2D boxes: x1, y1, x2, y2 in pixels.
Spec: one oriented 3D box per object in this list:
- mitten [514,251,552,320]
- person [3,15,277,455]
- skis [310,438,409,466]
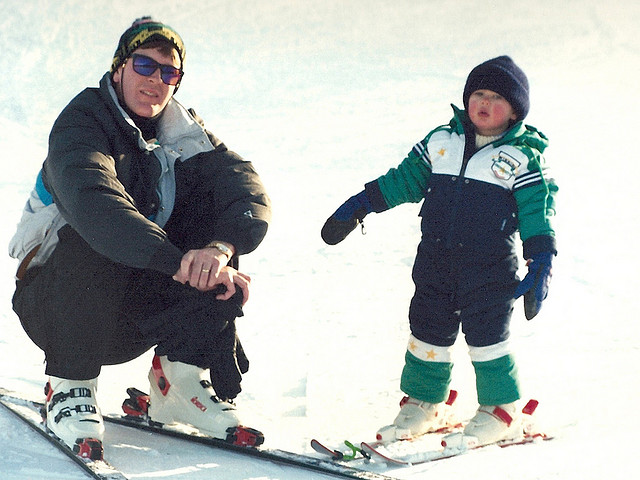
[{"bbox_3d":[0.851,0.183,3.044,0.167,0.251,0.070,32,-18,-30],"label":"mitten"},{"bbox_3d":[-0.685,-0.066,2.888,0.995,1.660,0.464,1,-3,-4],"label":"person"},{"bbox_3d":[0.147,0.801,2.955,0.359,0.075,0.146,1,-2,0],"label":"skis"}]
